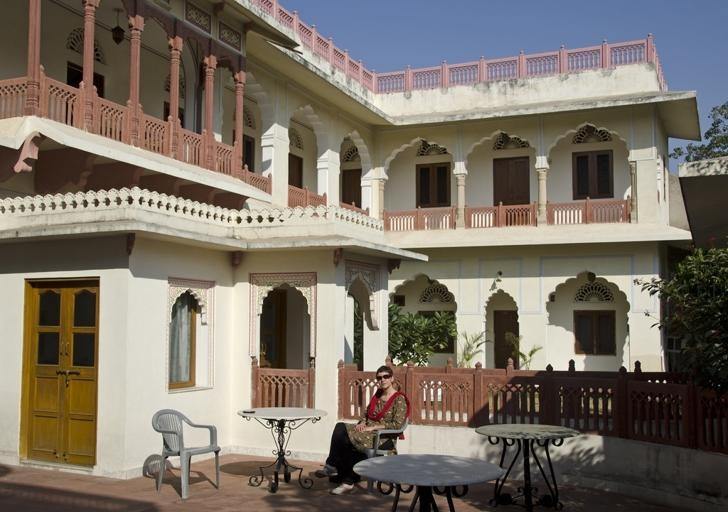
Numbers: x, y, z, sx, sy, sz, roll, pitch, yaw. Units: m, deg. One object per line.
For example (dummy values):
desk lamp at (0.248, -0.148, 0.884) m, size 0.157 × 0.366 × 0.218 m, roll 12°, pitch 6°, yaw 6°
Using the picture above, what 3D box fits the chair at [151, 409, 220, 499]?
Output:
chair at (-2.631, 2.889, 11.777) m, size 0.789 × 1.216 × 0.850 m, roll -7°, pitch -8°, yaw 34°

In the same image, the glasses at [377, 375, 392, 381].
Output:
glasses at (0.278, 1.768, 11.439) m, size 0.208 × 0.087 × 0.155 m, roll -2°, pitch -12°, yaw 4°

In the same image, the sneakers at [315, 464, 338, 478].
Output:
sneakers at (-0.568, 3.153, 11.743) m, size 0.183 × 0.162 × 0.339 m, roll 10°, pitch -10°, yaw -33°

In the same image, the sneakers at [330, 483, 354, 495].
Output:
sneakers at (-0.320, 3.363, 11.534) m, size 0.258 × 0.124 × 0.142 m, roll 1°, pitch 3°, yaw -11°
